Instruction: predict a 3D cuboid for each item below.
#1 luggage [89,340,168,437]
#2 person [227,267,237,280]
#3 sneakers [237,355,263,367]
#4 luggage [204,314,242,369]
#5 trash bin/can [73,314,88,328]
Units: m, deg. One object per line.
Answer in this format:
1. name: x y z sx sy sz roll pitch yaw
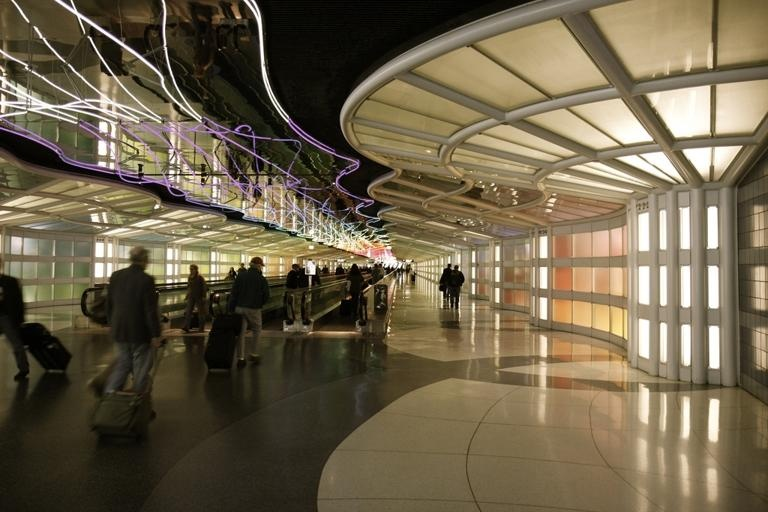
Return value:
1. luggage: -3.863 2.175 8.064 0.748 1.074 0.890 5 9 23
2. person: -8.198 0.903 28.252 0.755 0.803 0.394 2 -5 -17
3. sneakers: -3.098 2.373 11.911 0.516 0.171 0.165 -5 8 -43
4. luggage: -3.475 1.860 11.326 0.586 1.159 0.760 2 8 1
5. trash bin/can: -9.580 2.069 16.644 0.380 0.300 0.541 -3 8 -29
